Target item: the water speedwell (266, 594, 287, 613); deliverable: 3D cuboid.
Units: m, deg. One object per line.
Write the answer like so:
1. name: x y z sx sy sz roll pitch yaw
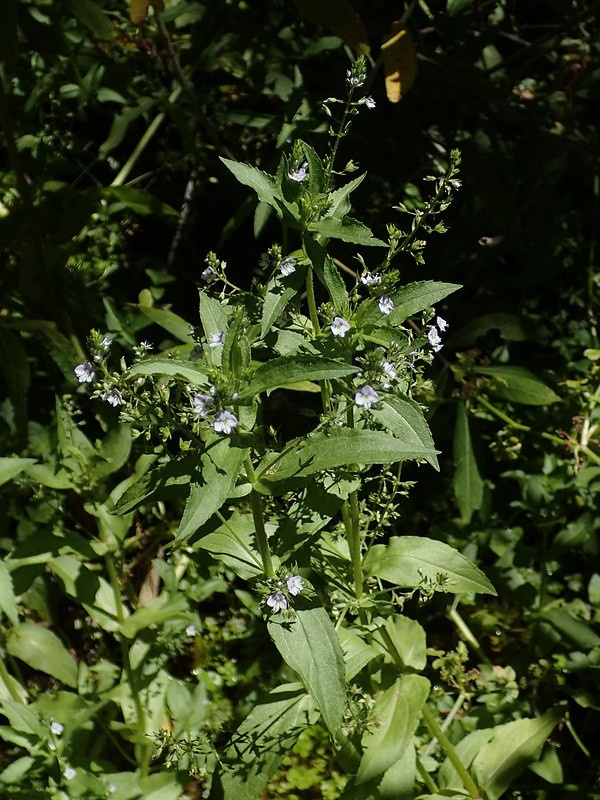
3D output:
1. water speedwell: -0.042 0.440 1.711 0.049 0.019 0.047 1 41 -6

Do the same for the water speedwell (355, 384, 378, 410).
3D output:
1. water speedwell: 0.135 -0.005 1.602 0.051 0.043 0.016 -33 18 -20

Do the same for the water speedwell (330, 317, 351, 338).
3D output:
1. water speedwell: 0.082 -0.153 1.642 0.042 0.041 0.020 -10 34 10

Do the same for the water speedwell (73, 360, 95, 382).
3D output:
1. water speedwell: -0.442 -0.058 1.623 0.027 0.034 0.052 -7 26 31
